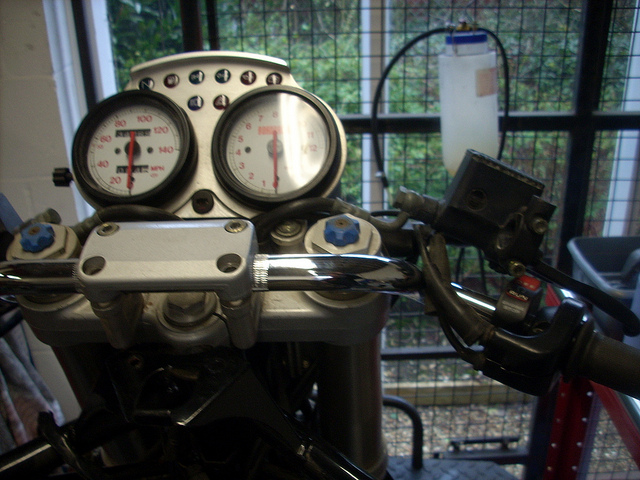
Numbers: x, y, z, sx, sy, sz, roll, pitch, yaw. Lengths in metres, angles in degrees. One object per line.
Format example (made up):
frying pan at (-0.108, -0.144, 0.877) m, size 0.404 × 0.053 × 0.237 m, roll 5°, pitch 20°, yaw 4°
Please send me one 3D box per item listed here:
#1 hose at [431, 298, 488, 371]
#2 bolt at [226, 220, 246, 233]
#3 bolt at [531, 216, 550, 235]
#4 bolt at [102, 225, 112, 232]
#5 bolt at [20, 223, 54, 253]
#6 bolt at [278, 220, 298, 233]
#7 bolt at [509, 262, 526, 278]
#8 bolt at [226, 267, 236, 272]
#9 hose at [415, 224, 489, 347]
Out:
hose at (0.287, 0.205, 1.142) m, size 0.031 × 0.083 × 0.111 m, roll -8°, pitch -8°, yaw 4°
bolt at (-0.149, -0.023, 1.071) m, size 0.034 × 0.015 × 0.026 m, roll -3°, pitch 18°, yaw -7°
bolt at (0.431, -0.027, 1.182) m, size 0.027 × 0.032 × 0.032 m, roll -10°, pitch -8°, yaw -2°
bolt at (-0.377, -0.019, 1.074) m, size 0.015 × 0.008 × 0.007 m, roll -7°, pitch 19°, yaw -19°
bolt at (-0.546, -0.002, 1.170) m, size 0.062 × 0.046 × 0.040 m, roll -6°, pitch 18°, yaw -15°
bolt at (-0.071, -0.026, 1.283) m, size 0.027 × 0.007 × 0.029 m, roll -3°, pitch 51°, yaw -3°
bolt at (0.375, 0.057, 1.158) m, size 0.023 × 0.026 × 0.030 m, roll -2°, pitch 7°, yaw 1°
bolt at (-0.150, 0.051, 1.019) m, size 0.008 × 0.002 × 0.008 m, roll -21°, pitch 28°, yaw -13°
hose at (0.223, 0.077, 1.128) m, size 0.063 × 0.247 × 0.036 m, roll -31°, pitch -21°, yaw -4°
